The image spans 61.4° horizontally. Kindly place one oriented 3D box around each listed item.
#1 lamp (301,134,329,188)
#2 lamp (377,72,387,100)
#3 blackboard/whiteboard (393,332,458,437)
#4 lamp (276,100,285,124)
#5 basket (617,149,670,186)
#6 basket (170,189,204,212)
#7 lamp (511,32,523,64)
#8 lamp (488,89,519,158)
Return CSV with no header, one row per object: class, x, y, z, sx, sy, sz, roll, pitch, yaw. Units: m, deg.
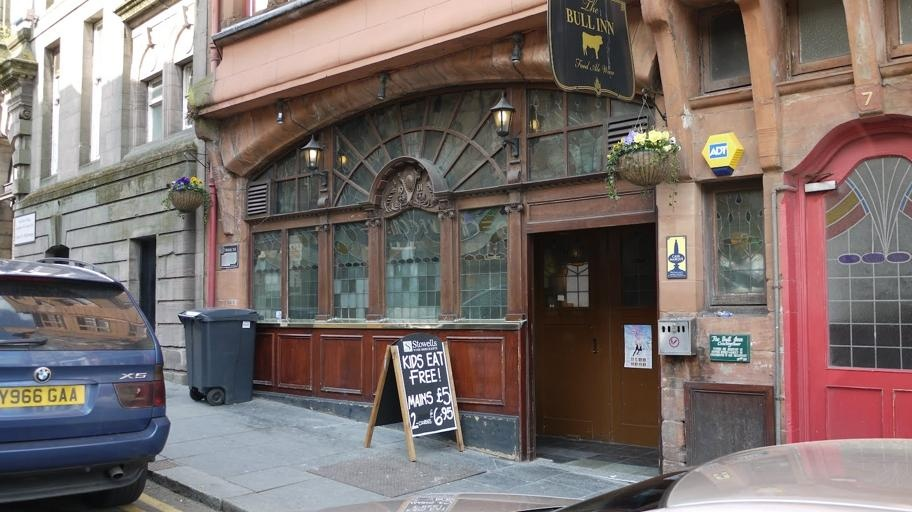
lamp,-3.026,-1.945,16.229,0.493,1.164,0.620,-6,-9,41
lamp,-1.462,-3.307,15.100,0.205,0.513,0.431,1,8,-6
blackboard/whiteboard,-0.644,2.291,13.870,0.963,1.936,0.889,-12,2,-21
lamp,-3.784,-3.024,16.353,0.157,0.482,0.423,-1,9,-18
basket,3.098,-1.364,12.455,0.831,0.548,0.872,-5,1,14
basket,-6.224,-1.225,17.547,0.572,0.380,0.557,4,-7,-28
lamp,1.063,-3.643,13.576,0.229,0.532,0.160,5,9,20
lamp,0.859,-2.347,13.986,0.513,1.168,0.538,0,9,-13
